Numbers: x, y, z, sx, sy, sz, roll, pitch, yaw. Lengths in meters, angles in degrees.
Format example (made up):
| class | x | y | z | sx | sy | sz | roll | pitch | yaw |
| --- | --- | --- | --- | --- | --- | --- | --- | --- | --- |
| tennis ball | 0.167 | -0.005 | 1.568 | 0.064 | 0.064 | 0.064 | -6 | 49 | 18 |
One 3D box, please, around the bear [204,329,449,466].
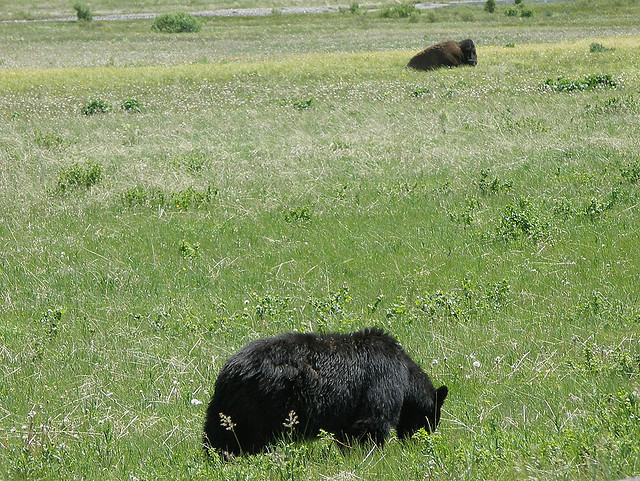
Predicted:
| class | x | y | z | sx | sy | sz | roll | pitch | yaw |
| --- | --- | --- | --- | --- | --- | --- | --- | --- | --- |
| bear | 0.031 | 3.162 | 18.219 | 4.537 | 2.114 | 1.537 | -9 | 33 | -8 |
